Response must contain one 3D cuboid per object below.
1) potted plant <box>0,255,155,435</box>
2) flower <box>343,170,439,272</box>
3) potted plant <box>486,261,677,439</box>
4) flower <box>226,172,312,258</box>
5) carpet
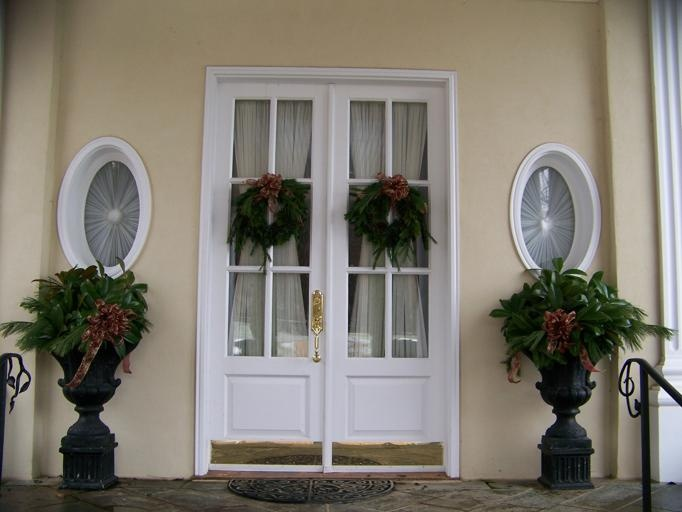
[{"bbox_3d":[-1.963,0.592,5.684,0.936,0.725,0.958,-8,-8,40],"label":"potted plant"},{"bbox_3d":[0.397,-0.269,6.020,0.714,0.752,0.267,2,14,7],"label":"flower"},{"bbox_3d":[1.864,0.738,6.039,1.155,1.074,1.223,0,-3,24],"label":"potted plant"},{"bbox_3d":[-0.560,-0.341,5.831,0.613,0.686,0.295,12,0,4],"label":"flower"},{"bbox_3d":[-0.223,1.752,5.628,1.259,0.070,0.446,-1,17,-4],"label":"carpet"}]
